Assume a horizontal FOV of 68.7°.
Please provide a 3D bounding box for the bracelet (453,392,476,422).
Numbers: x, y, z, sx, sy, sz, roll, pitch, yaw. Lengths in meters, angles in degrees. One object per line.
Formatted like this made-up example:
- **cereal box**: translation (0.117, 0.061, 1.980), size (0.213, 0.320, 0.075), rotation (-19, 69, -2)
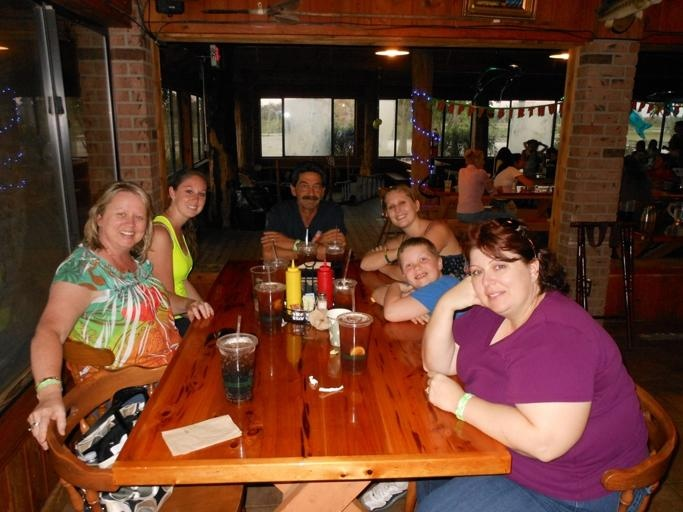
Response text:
- **bracelet**: translation (0.459, 0.571, 1.877), size (0.026, 0.082, 0.088), rotation (20, 25, 23)

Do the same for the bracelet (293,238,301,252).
- **bracelet**: translation (-0.315, -0.082, 3.591), size (0.088, 0.112, 0.049), rotation (2, 2, -13)

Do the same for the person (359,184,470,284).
- **person**: translation (0.522, -0.089, 3.636), size (0.790, 0.821, 0.616), rotation (-13, 7, -35)

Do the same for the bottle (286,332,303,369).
- **bottle**: translation (-0.220, 0.436, 2.339), size (0.061, 0.243, 0.057), rotation (6, 41, -5)

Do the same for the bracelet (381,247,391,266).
- **bracelet**: translation (0.305, 0.011, 3.370), size (0.025, 0.083, 0.081), rotation (-20, 23, 6)

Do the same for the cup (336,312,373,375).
- **cup**: translation (0.062, 0.383, 2.163), size (0.178, 0.210, 0.163), rotation (0, -1, 0)

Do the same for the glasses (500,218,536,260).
- **glasses**: translation (0.693, -0.049, 1.940), size (0.046, 0.156, 0.133), rotation (-40, 47, -9)

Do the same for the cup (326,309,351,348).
- **cup**: translation (-0.032, 0.330, 2.311), size (0.156, 0.166, 0.155), rotation (0, 25, 0)

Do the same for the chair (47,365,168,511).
- **chair**: translation (-0.892, 0.702, 1.936), size (0.414, 0.565, 0.489), rotation (0, 56, -5)
